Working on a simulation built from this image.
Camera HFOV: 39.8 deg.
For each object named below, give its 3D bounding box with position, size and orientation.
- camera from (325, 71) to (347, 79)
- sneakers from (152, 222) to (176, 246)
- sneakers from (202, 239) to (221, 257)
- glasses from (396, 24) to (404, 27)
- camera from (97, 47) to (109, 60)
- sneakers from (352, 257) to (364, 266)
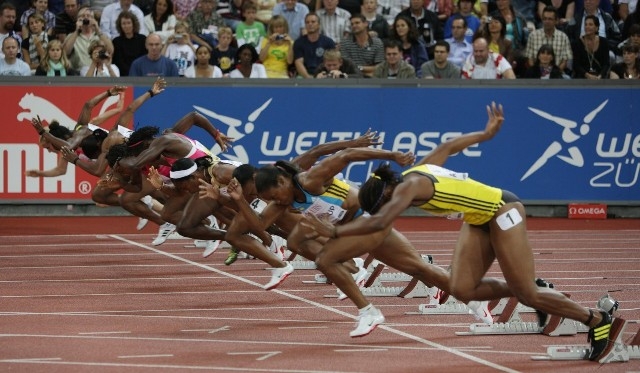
[{"bbox_3d":[0.401,-2.625,20.956,0.316,0.107,0.229,1,0,21],"label":"camera"},{"bbox_3d":[-3.224,1.012,18.542,0.680,0.291,0.246,-39,11,-9],"label":"sneakers"},{"bbox_3d":[-2.091,1.169,17.205,0.293,0.224,0.634,18,-30,-7],"label":"sneakers"},{"bbox_3d":[1.923,-3.826,21.178,0.184,0.075,0.039,6,17,21],"label":"glasses"},{"bbox_3d":[-5.040,-3.078,20.670,0.321,0.271,0.113,0,17,-11],"label":"camera"},{"bbox_3d":[0.712,1.339,15.820,0.168,0.163,0.201,12,-3,-33],"label":"sneakers"}]
